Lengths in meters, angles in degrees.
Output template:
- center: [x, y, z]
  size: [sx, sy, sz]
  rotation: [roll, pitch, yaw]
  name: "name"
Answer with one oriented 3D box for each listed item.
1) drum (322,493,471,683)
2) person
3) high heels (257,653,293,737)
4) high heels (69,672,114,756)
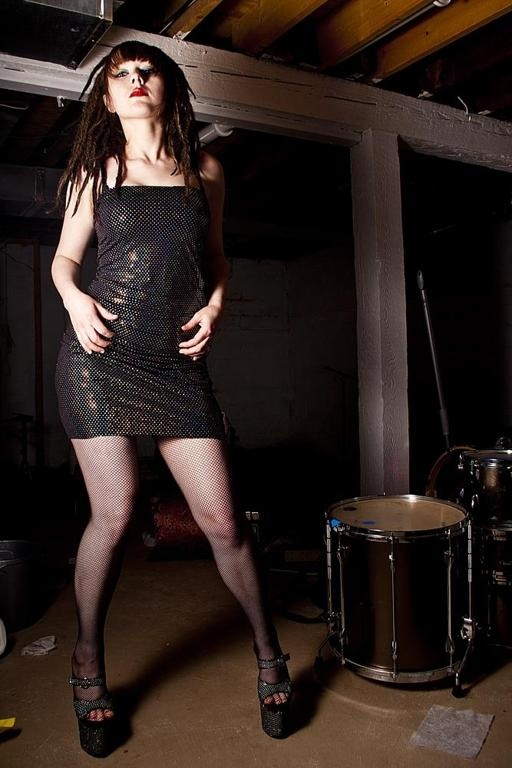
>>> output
- center: [0.343, 0.536, 1.889]
  size: [0.478, 0.453, 0.468]
  rotation: [-2, 3, 2]
  name: "drum"
- center: [-0.218, 0.018, 1.569]
  size: [0.513, 1.277, 0.312]
  rotation: [-2, 1, -17]
  name: "person"
- center: [0.042, 0.739, 1.549]
  size: [0.068, 0.210, 0.056]
  rotation: [-4, 8, 4]
  name: "high heels"
- center: [-0.375, 0.766, 1.468]
  size: [0.069, 0.214, 0.079]
  rotation: [-5, -10, -13]
  name: "high heels"
